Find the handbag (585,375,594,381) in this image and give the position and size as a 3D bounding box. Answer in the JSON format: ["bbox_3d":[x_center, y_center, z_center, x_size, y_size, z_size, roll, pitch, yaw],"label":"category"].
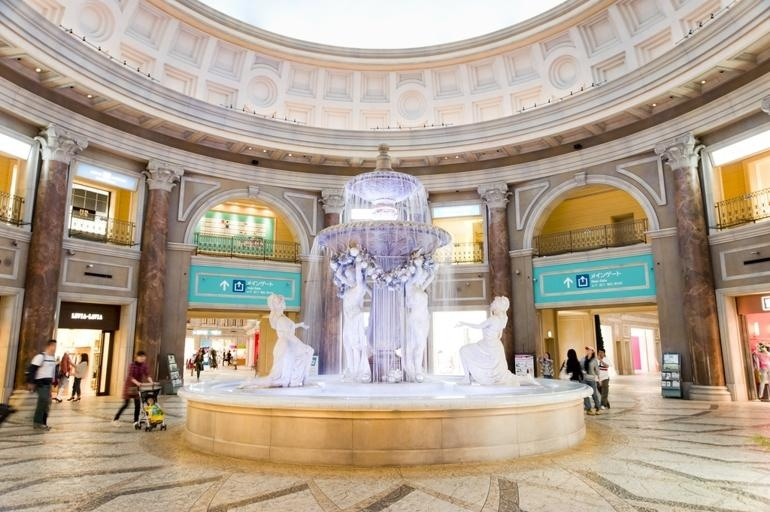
[{"bbox_3d":[4.626,2.758,9.619,0.141,0.064,0.172,7,-6,-28],"label":"handbag"}]

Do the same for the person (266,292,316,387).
[{"bbox_3d":[-1.777,1.569,7.976,0.833,1.682,0.403,11,-16,-43],"label":"person"}]

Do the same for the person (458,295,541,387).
[{"bbox_3d":[1.906,1.565,7.907,1.043,1.618,0.413,-2,-12,10],"label":"person"}]

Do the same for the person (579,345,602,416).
[{"bbox_3d":[4.715,2.813,9.731,0.364,1.441,1.161,-5,-12,23],"label":"person"}]

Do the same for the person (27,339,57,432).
[{"bbox_3d":[-6.636,2.456,8.214,0.413,1.631,0.965,8,-14,-36],"label":"person"}]

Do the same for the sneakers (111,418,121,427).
[{"bbox_3d":[-5.364,3.334,8.500,0.227,0.085,0.176,22,-20,-22],"label":"sneakers"}]

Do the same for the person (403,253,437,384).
[{"bbox_3d":[0.764,1.233,8.742,0.632,2.592,0.401,4,-12,-19],"label":"person"}]

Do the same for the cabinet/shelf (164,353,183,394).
[{"bbox_3d":[-6.756,3.733,13.613,0.493,1.240,0.593,5,-12,-22],"label":"cabinet/shelf"}]

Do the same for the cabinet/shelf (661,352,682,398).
[{"bbox_3d":[8.280,3.421,12.292,0.539,1.252,0.285,-7,-14,31],"label":"cabinet/shelf"}]

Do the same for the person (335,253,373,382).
[{"bbox_3d":[-0.620,1.210,8.796,0.688,2.662,0.745,1,-12,-3],"label":"person"}]
